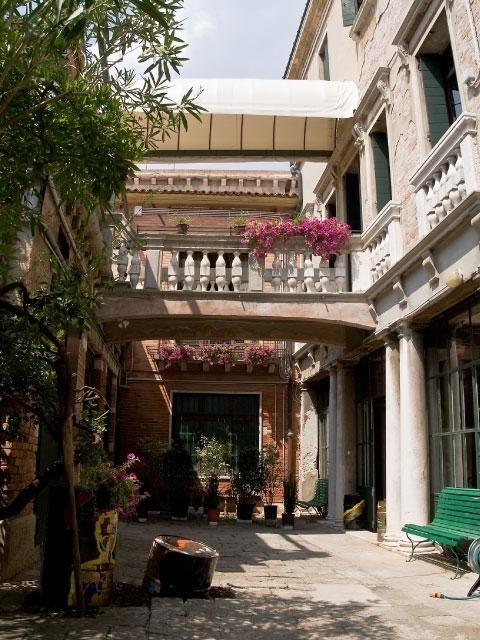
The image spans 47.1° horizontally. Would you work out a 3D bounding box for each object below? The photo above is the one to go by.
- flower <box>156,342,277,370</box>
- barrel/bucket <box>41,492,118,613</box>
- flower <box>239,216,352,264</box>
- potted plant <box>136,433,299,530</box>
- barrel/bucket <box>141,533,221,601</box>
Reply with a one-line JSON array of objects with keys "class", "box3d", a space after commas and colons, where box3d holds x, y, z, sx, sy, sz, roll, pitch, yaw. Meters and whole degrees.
[{"class": "flower", "box3d": [-0.774, 1.085, 17.516, 3.674, 0.847, 0.731, 1, -15, -1]}, {"class": "barrel/bucket", "box3d": [-1.296, 1.841, 4.467, 0.571, 0.882, 0.451, 5, -16, -15]}, {"class": "flower", "box3d": [1.030, -1.492, 9.791, 1.014, 0.507, 1.240, -1, 4, -17]}, {"class": "potted plant", "box3d": [-0.777, 4.307, 15.106, 3.731, 2.050, 2.492, -5, -16, 20]}, {"class": "barrel/bucket", "box3d": [-0.498, 1.954, 4.339, 0.686, 0.468, 0.679, 10, -19, 4]}]
